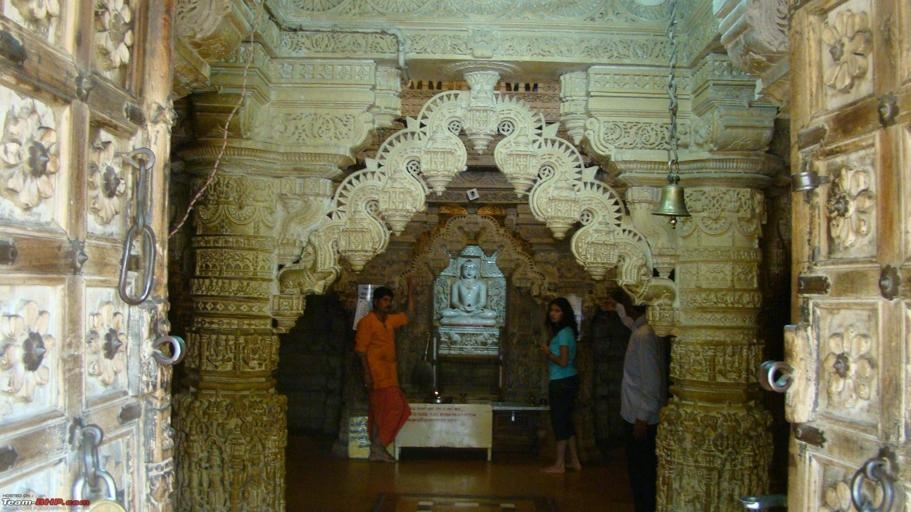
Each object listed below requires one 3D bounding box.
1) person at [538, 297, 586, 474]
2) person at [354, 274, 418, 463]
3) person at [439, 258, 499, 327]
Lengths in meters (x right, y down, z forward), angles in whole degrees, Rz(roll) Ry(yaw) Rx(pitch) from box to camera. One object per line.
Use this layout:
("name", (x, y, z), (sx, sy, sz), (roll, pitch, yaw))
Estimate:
("person", (0.994, 1.166, 7.948), (0.343, 1.562, 0.773), (0, -5, 8))
("person", (-0.672, 1.073, 8.116), (0.514, 1.652, 0.737), (1, -5, -4))
("person", (0.161, 0.382, 9.284), (0.600, 0.729, 0.411), (1, -5, 3))
